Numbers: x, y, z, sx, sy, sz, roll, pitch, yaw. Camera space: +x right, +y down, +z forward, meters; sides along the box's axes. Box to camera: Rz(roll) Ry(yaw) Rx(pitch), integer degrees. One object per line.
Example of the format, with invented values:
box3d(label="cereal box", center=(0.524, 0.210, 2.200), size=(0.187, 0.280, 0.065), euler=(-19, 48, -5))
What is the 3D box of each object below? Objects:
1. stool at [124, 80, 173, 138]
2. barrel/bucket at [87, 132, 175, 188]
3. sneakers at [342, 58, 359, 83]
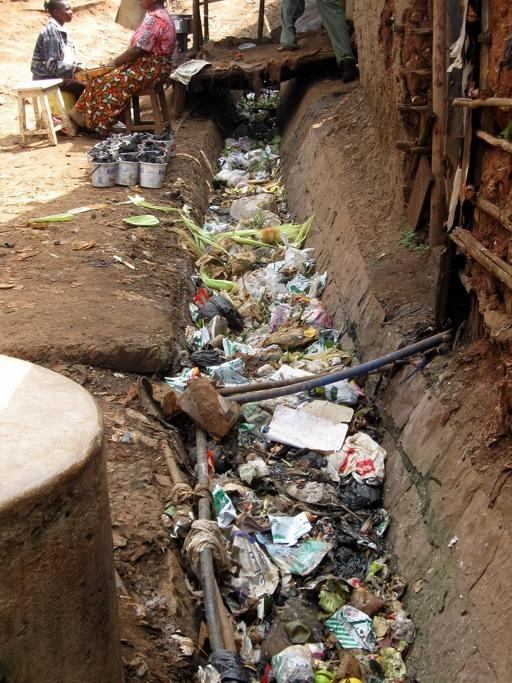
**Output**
box3d(label="stool", center=(-1.506, -3.116, 7.945), size=(0.768, 0.782, 0.766), euler=(-12, 22, -27))
box3d(label="barrel/bucket", center=(-1.413, -2.022, 6.597), size=(0.907, 0.561, 1.047), euler=(-5, 20, -10))
box3d(label="sneakers", center=(1.161, -3.374, 7.318), size=(0.115, 0.126, 0.311), euler=(-1, -22, 4))
